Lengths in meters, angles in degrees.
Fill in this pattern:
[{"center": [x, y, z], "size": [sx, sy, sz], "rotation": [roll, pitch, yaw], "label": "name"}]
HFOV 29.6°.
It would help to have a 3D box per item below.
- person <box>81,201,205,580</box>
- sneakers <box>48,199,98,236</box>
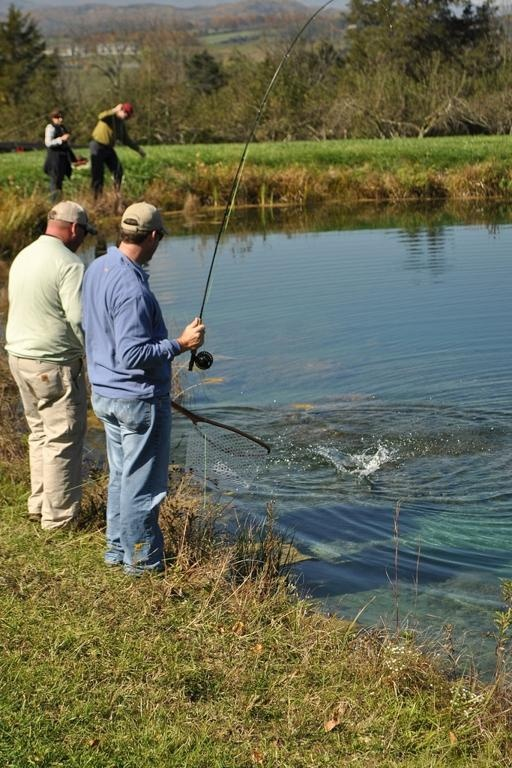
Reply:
[{"center": [-0.611, 0.169, 5.099], "size": [0.434, 1.760, 0.620], "rotation": [-10, 11, -40], "label": "person"}, {"center": [-1.055, -0.983, 5.747], "size": [0.319, 0.162, 0.202], "rotation": [-6, 21, -34], "label": "sneakers"}]
